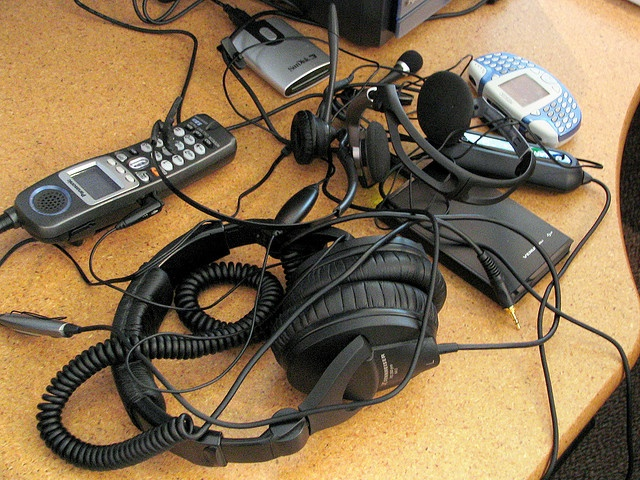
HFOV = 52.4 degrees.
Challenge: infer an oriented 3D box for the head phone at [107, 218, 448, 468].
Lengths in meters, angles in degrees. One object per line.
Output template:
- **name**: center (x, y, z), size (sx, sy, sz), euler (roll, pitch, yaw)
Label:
- **head phone**: center (-0.056, 0.127, 0.824), size (0.419, 0.152, 0.320), euler (12, 71, -7)

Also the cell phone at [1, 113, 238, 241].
- **cell phone**: center (-0.293, -0.083, 0.950), size (0.222, 0.054, 0.062), euler (-36, 71, -15)

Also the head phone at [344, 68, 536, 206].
- **head phone**: center (0.149, -0.100, 0.920), size (0.223, 0.109, 0.202), euler (46, 42, 19)
